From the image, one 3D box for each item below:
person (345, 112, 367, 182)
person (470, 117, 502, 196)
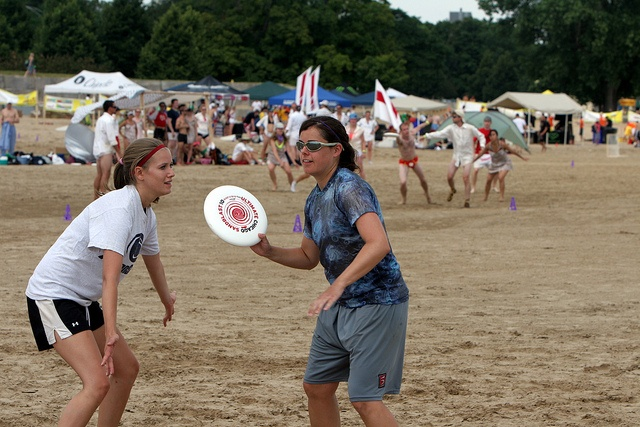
[{"bbox_3d":[1.579,-3.115,51.140,1.134,3.064,0.984,7,38,9],"label":"person"},{"bbox_3d":[7.075,-2.637,50.554,1.011,3.069,1.424,0,1,8],"label":"person"}]
